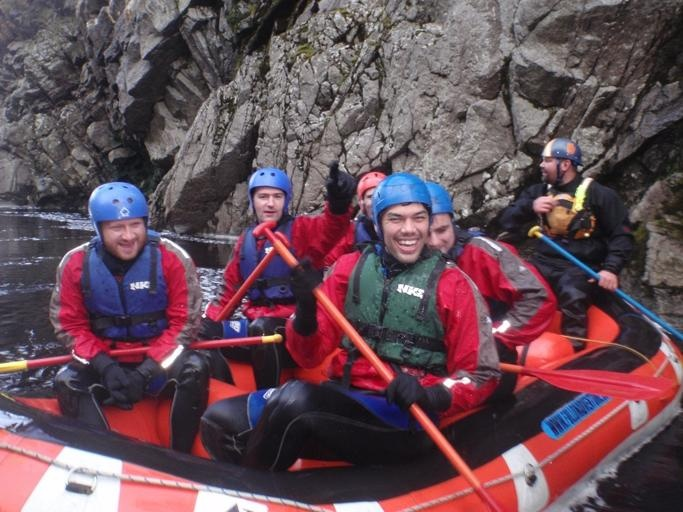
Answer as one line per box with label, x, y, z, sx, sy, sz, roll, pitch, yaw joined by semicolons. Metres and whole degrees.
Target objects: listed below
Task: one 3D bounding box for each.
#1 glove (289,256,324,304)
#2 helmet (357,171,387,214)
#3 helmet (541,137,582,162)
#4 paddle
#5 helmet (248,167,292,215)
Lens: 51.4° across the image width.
glove;-0.314;0.212;6.035;0.251;0.345;0.113;3;6;9
helmet;0.300;-0.719;7.999;0.322;0.446;0.393;13;19;-1
helmet;2.613;-1.227;8.404;0.348;0.302;0.274;-10;8;21
paddle;2.231;1.169;6.571;1.099;0.087;0.304;8;37;8
helmet;-0.783;-0.741;7.908;0.387;0.450;0.544;1;1;2
